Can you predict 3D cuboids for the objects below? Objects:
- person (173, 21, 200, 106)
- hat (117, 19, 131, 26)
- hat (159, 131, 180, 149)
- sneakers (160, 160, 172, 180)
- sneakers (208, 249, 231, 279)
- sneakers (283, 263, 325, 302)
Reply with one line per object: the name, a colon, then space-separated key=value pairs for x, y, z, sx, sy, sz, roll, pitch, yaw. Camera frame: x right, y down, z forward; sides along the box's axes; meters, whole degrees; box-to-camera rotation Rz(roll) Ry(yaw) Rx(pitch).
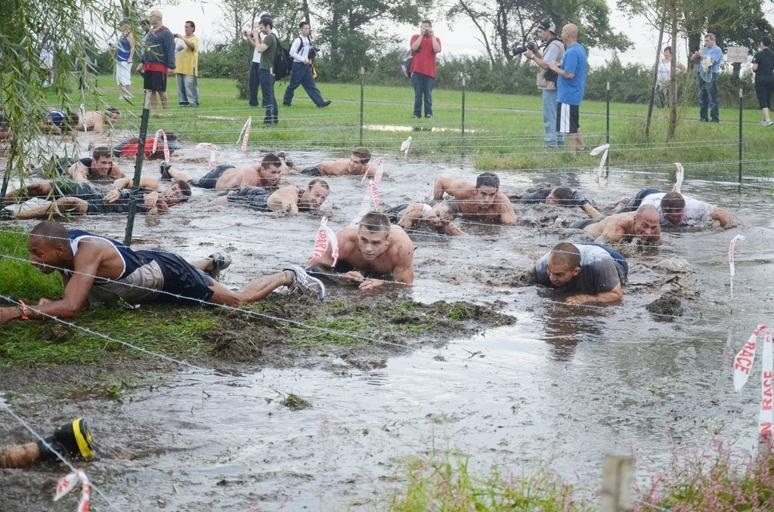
person: x=-5.013 y=-4.760 z=25.029 sx=0.549 sy=2.057 sz=1.294 roll=-2 pitch=7 yaw=-12
hat: x=-2.821 y=-2.503 z=10.774 sx=0.102 sy=0.077 sz=0.085 roll=-2 pitch=7 yaw=-14
hat: x=-4.286 y=-2.272 z=20.081 sx=0.322 sy=0.151 sz=0.477 roll=-8 pitch=28 yaw=-24
sneakers: x=-3.918 y=-1.514 z=17.752 sx=0.157 sy=0.407 sz=0.182 roll=3 pitch=-9 yaw=-23
sneakers: x=-2.134 y=0.084 z=12.917 sx=0.171 sy=0.182 sz=0.458 roll=-1 pitch=12 yaw=7
sneakers: x=-1.030 y=0.370 z=12.514 sx=0.666 sy=0.250 sz=0.274 roll=31 pitch=55 yaw=3
